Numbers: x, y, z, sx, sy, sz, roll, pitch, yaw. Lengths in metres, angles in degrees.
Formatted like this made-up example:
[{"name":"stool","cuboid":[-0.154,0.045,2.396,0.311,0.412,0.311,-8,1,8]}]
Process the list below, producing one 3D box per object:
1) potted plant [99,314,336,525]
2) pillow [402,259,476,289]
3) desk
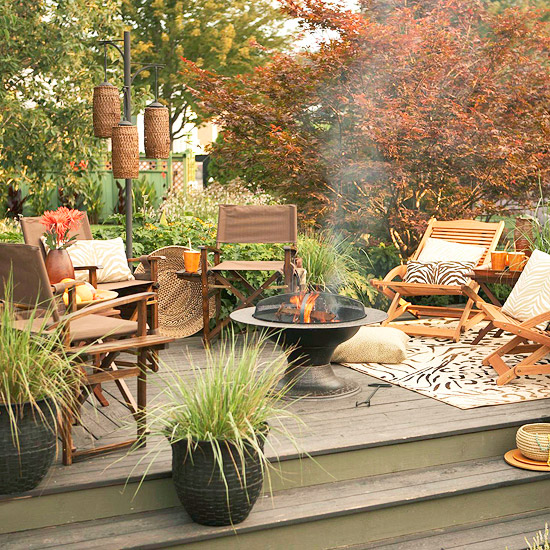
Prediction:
[{"name":"potted plant","cuboid":[-0.346,0.567,2.429,0.880,0.737,0.881,1,3,19]},{"name":"pillow","cuboid":[1.528,-0.025,5.144,0.635,0.253,0.330,9,16,22]},{"name":"desk","cuboid":[1.934,0.241,5.039,0.647,0.569,0.680,-8,18,10]}]
